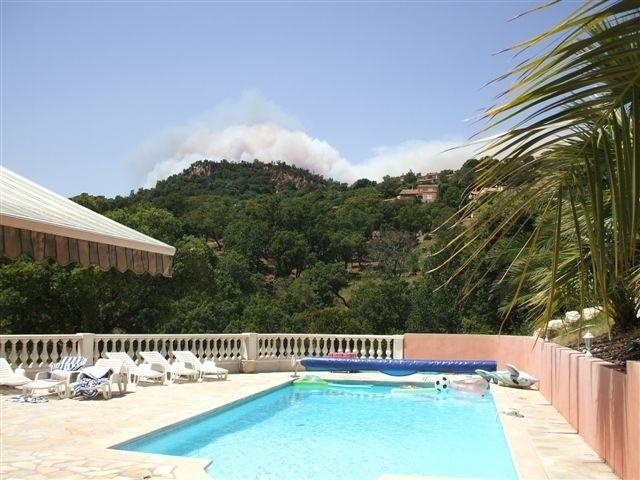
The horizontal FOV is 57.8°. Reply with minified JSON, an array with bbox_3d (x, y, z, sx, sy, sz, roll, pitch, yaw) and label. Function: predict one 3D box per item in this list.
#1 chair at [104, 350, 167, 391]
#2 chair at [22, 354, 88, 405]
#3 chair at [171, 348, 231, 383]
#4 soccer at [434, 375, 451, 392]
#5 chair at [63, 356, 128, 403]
[{"bbox_3d":[-4.679,3.338,15.075,0.824,0.751,2.073,5,-8,-36],"label":"chair"},{"bbox_3d":[-6.110,3.164,13.370,0.729,0.687,1.310,-3,0,14],"label":"chair"},{"bbox_3d":[-3.455,3.519,16.504,0.841,0.566,1.487,11,-2,-44],"label":"chair"},{"bbox_3d":[3.367,3.937,15.998,0.322,0.410,0.333,1,-5,-30],"label":"soccer"},{"bbox_3d":[-5.056,3.222,13.566,0.621,0.563,1.151,-2,-5,6],"label":"chair"}]
